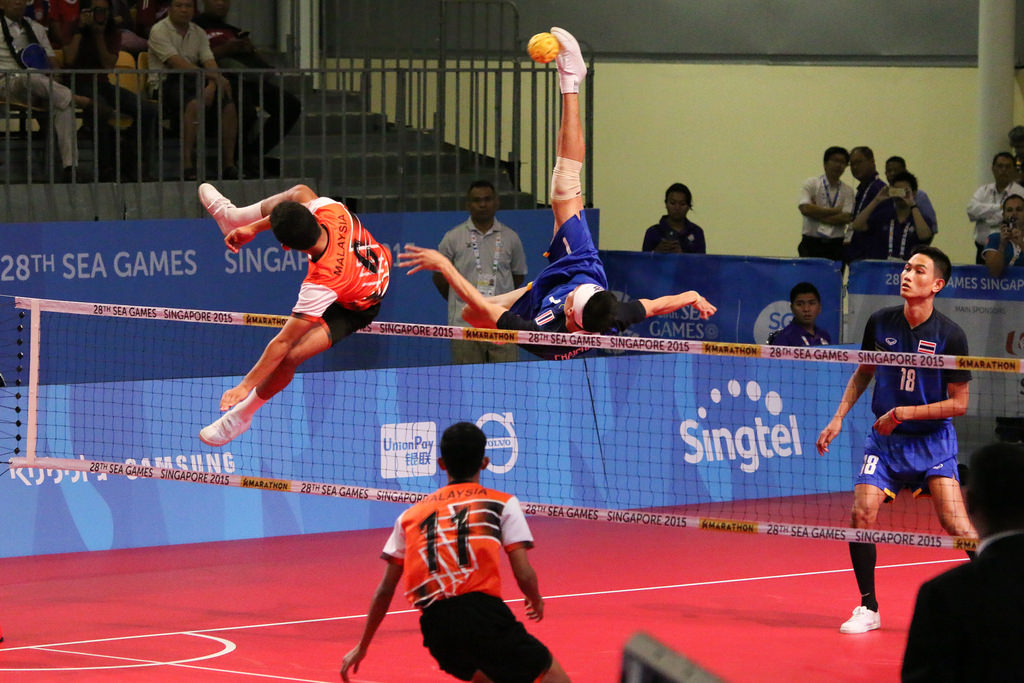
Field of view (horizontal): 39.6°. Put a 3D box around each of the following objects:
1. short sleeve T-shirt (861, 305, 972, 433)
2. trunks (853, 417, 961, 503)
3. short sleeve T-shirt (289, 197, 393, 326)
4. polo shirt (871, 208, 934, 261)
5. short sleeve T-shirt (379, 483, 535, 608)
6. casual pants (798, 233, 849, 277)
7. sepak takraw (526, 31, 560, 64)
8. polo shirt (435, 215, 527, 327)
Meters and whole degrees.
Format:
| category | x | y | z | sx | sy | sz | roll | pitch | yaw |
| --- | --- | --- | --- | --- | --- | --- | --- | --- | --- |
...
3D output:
| category | x | y | z | sx | sy | sz | roll | pitch | yaw |
| --- | --- | --- | --- | --- | --- | --- | --- | --- | --- |
| short sleeve T-shirt | 3.640 | 0.268 | 13.072 | 1.003 | 1.128 | 0.549 | 10 | 20 | 27 |
| trunks | 3.613 | 1.060 | 12.974 | 0.922 | 0.709 | 0.512 | -3 | -18 | 29 |
| short sleeve T-shirt | -1.519 | -0.704 | 13.167 | 1.063 | 0.864 | 0.367 | 8 | 41 | 48 |
| polo shirt | 4.943 | -1.358 | 18.198 | 0.543 | 0.663 | 0.316 | 17 | 45 | 23 |
| short sleeve T-shirt | -0.434 | 1.574 | 11.063 | 1.116 | 0.966 | 0.654 | -6 | -16 | 12 |
| casual pants | 3.932 | -1.083 | 17.971 | 0.599 | 0.478 | 0.354 | 3 | -15 | -17 |
| sepak takraw | 0.297 | -2.808 | 13.717 | 0.297 | 0.269 | 0.278 | 0 | 5 | -1 |
| polo shirt | -0.360 | -0.797 | 16.042 | 1.304 | 1.473 | 0.744 | -1 | 3 | -21 |
